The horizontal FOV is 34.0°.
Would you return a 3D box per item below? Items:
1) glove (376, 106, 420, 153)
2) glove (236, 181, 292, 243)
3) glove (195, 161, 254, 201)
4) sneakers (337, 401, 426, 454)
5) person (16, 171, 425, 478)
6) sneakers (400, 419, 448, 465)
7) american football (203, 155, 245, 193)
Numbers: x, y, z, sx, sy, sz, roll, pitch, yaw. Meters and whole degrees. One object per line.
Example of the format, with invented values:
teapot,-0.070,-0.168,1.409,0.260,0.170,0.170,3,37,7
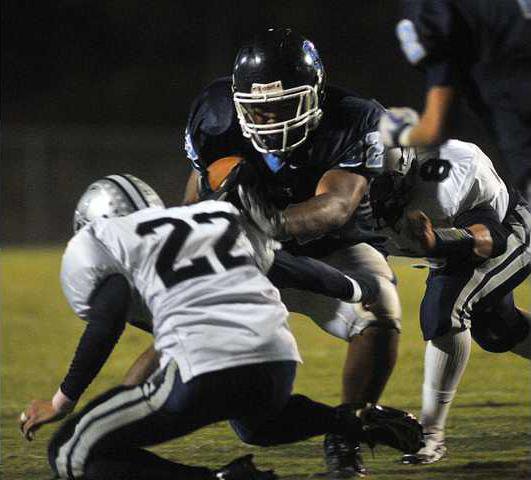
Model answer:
glove,0.473,-0.377,3.030,0.127,0.057,0.158,5,27,38
glove,0.006,-0.103,2.513,0.138,0.310,0.079,23,72,20
glove,-0.130,-0.211,2.875,0.144,0.078,0.191,-34,20,25
sneakers,0.298,0.549,2.558,0.085,0.089,0.240,24,16,37
person,-0.289,0.368,2.848,1.105,1.048,0.828,-29,-31,23
sneakers,0.542,0.697,2.928,0.079,0.084,0.230,-8,-15,34
american football,-0.141,-0.218,3.050,0.150,0.039,0.129,-27,37,27
